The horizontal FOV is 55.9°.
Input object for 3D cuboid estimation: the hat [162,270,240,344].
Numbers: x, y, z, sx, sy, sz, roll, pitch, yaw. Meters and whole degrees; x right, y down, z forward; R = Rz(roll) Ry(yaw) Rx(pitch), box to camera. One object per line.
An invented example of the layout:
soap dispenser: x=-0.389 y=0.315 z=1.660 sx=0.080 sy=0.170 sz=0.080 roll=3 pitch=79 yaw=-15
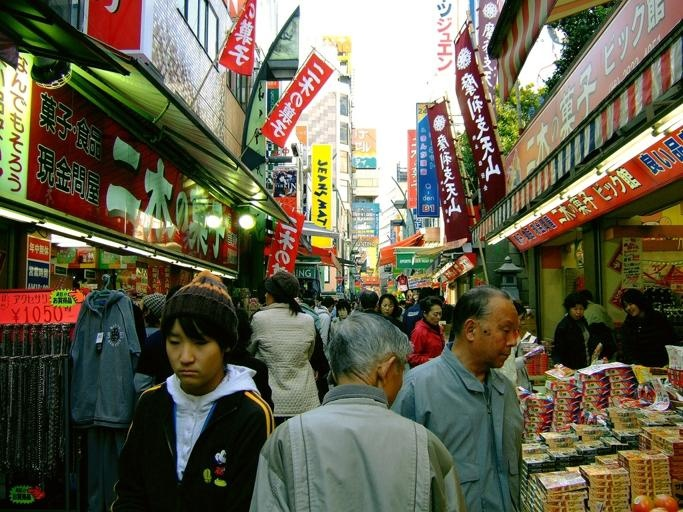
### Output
hat: x=-0.900 y=0.331 z=4.250 sx=0.385 sy=0.497 sz=0.470 roll=12 pitch=-30 yaw=-18

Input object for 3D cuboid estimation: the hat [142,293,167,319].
hat: x=-1.868 y=0.499 z=6.385 sx=0.206 sy=0.331 sz=0.140 roll=5 pitch=-17 yaw=-2
